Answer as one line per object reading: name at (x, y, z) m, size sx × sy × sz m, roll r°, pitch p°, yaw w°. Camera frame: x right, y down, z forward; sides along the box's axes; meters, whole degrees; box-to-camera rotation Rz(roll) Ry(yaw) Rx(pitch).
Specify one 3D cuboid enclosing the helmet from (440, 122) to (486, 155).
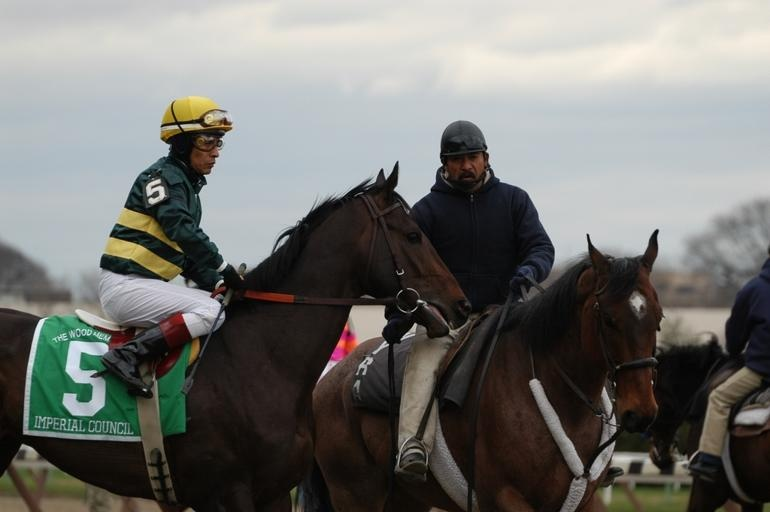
helmet at (0.734, -1.078, 15.835) m, size 0.422 × 0.303 × 0.267 m, roll -1°, pitch 0°, yaw 1°

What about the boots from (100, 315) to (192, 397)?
boots at (-2.108, 0.891, 14.872) m, size 0.759 × 0.604 × 0.305 m, roll -35°, pitch 3°, yaw -11°

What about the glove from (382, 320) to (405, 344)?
glove at (0.086, 0.709, 15.330) m, size 0.220 × 0.215 × 0.165 m, roll 9°, pitch -3°, yaw -18°

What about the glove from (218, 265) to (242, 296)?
glove at (-1.362, 0.236, 14.902) m, size 0.235 × 0.231 × 0.092 m, roll 3°, pitch 12°, yaw 6°
